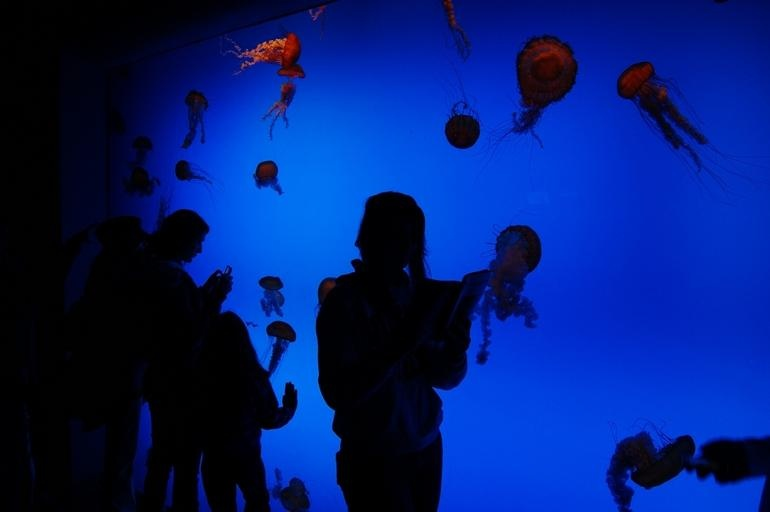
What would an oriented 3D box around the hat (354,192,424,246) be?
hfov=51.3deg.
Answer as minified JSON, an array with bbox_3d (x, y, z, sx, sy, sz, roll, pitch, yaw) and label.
[{"bbox_3d":[0.044,-0.249,5.291,0.386,0.324,0.282,-2,-4,3],"label":"hat"}]

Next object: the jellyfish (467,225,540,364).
[{"bbox_3d":[0.794,0.254,5.150,0.319,0.743,0.303,-1,15,-5],"label":"jellyfish"}]

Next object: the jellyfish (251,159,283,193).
[{"bbox_3d":[-0.787,-0.535,5.411,0.207,0.222,0.040,1,-8,19],"label":"jellyfish"}]

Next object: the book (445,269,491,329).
[{"bbox_3d":[0.546,0.255,5.175,0.197,0.345,0.261,8,15,13],"label":"book"}]

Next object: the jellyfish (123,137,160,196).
[{"bbox_3d":[-1.712,-0.635,5.645,0.256,0.415,0.076,0,-8,22],"label":"jellyfish"}]

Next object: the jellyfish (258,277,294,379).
[{"bbox_3d":[-0.722,0.469,5.391,0.262,0.660,0.103,1,-8,19],"label":"jellyfish"}]

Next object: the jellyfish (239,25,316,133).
[{"bbox_3d":[-0.702,-1.263,5.914,0.694,1.091,0.330,3,5,10],"label":"jellyfish"}]

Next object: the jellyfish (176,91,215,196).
[{"bbox_3d":[-1.321,-0.821,5.544,0.274,0.638,0.087,1,-8,19],"label":"jellyfish"}]
